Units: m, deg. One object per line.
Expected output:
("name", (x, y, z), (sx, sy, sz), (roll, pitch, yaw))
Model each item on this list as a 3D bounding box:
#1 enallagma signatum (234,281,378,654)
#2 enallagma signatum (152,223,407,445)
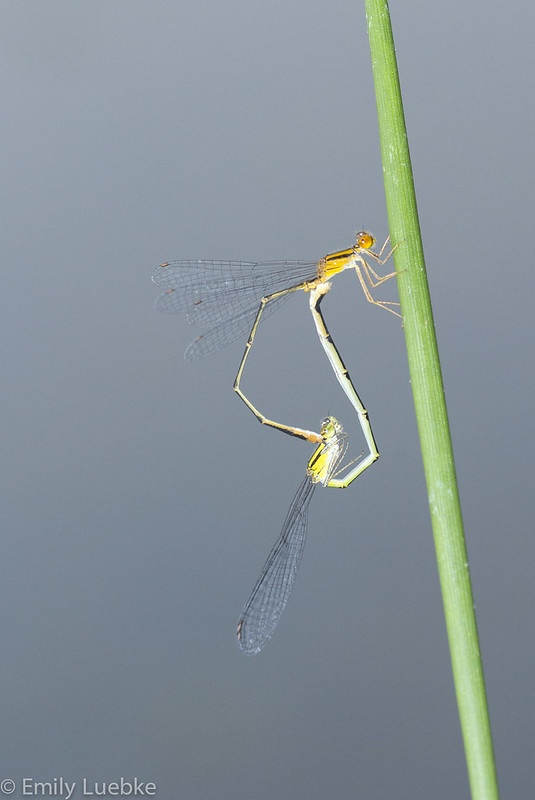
("enallagma signatum", (0.178, 0.179, 2.725), (0.477, 0.184, 0.836), (-23, 20, 16))
("enallagma signatum", (0.113, -0.215, 2.989), (0.693, 0.218, 0.675), (-25, 18, -8))
